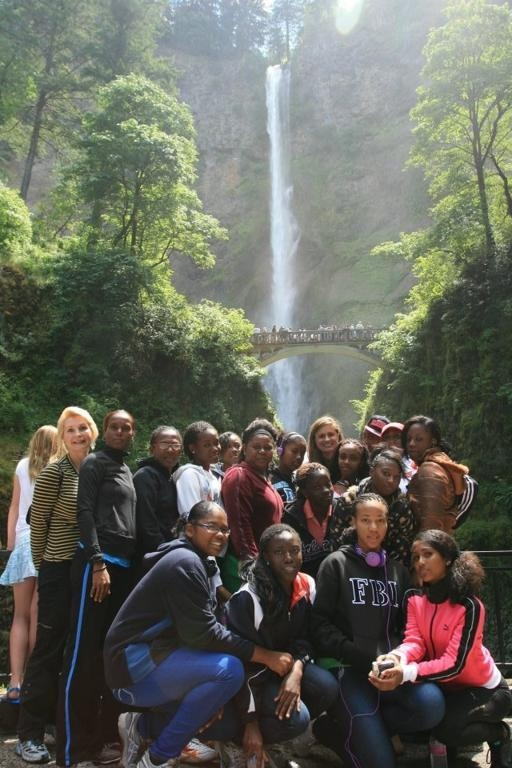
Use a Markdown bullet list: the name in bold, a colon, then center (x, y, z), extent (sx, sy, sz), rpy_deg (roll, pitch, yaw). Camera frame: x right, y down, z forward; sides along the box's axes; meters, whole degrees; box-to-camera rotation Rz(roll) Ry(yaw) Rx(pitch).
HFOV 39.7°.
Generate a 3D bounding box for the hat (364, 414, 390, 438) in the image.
- **hat**: center (1.103, 0.365, 6.512), extent (0.163, 0.114, 0.228), rpy_deg (21, -6, 17)

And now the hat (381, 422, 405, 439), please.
- **hat**: center (1.154, 0.369, 6.056), extent (0.172, 0.132, 0.415), rpy_deg (-2, -8, 9)

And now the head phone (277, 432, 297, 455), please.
- **head phone**: center (0.255, 0.460, 5.798), extent (0.161, 0.191, 0.086), rpy_deg (8, -1, 14)

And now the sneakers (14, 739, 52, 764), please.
- **sneakers**: center (-1.298, 2.106, 4.141), extent (0.134, 0.100, 0.270), rpy_deg (5, -10, -35)

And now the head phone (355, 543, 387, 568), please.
- **head phone**: center (0.693, 0.996, 4.217), extent (0.112, 0.047, 0.125), rpy_deg (11, -2, -38)

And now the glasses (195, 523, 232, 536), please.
- **glasses**: center (-0.226, 0.820, 4.101), extent (0.083, 0.068, 0.193), rpy_deg (-7, -10, 38)

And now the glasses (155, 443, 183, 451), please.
- **glasses**: center (-0.585, 0.433, 4.997), extent (0.081, 0.058, 0.200), rpy_deg (-5, -9, 31)

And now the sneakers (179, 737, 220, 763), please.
- **sneakers**: center (-0.321, 2.044, 4.028), extent (0.284, 0.113, 0.101), rpy_deg (-4, -12, -1)
